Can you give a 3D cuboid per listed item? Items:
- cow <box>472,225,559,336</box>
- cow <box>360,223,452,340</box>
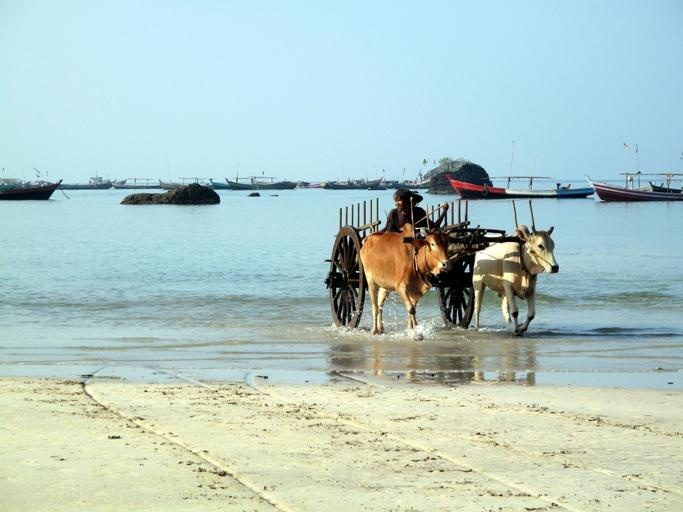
[{"bbox_3d":[3.392,0.571,21.393,0.914,2.134,2.923,2,-3,-19],"label":"cow"},{"bbox_3d":[1.253,0.577,21.056,0.885,2.042,3.270,0,-2,-24],"label":"cow"}]
